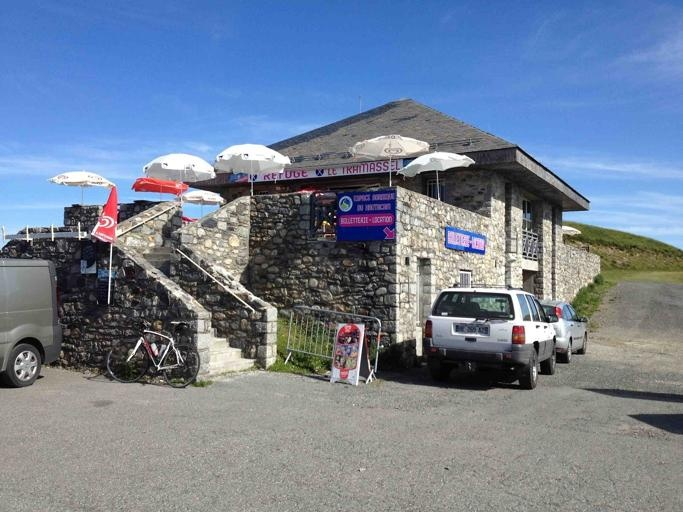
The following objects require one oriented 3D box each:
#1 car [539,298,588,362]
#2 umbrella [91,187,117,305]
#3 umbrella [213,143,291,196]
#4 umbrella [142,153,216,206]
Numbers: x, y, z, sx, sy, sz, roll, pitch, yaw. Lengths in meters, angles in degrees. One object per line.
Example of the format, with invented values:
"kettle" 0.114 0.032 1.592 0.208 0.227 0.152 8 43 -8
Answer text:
"car" 6.787 2.362 17.505 1.650 1.526 3.109 -1 1 31
"umbrella" -5.455 -0.256 12.881 0.478 2.049 0.595 1 0 -24
"umbrella" -2.808 -3.025 17.404 2.166 1.101 1.362 1 0 -1
"umbrella" -5.370 -2.919 18.565 2.025 0.855 2.098 1 0 -27
